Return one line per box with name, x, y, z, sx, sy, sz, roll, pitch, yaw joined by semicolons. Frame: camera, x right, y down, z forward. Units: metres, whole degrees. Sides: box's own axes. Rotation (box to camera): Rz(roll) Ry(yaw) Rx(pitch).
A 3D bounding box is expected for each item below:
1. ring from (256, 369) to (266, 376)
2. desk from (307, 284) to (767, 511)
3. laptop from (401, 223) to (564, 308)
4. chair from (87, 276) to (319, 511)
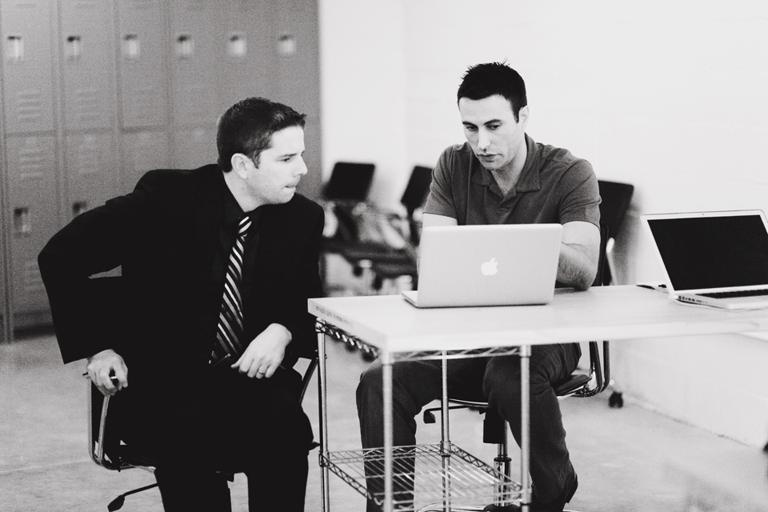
ring;-0.470;0.442;3.149;0.024;0.026;0.026;5;4;0
desk;0.498;0.474;3.021;1.469;0.618;0.594;-2;13;-13
laptop;0.364;0.039;2.911;0.408;0.267;0.323;-1;6;-10
chair;-0.592;0.516;3.517;0.848;1.191;0.803;0;-3;-5
